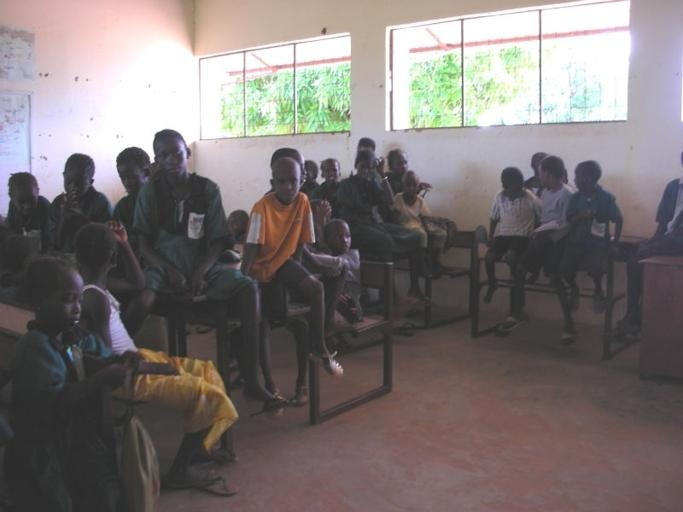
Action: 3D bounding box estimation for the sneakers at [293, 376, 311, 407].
[{"bbox_3d":[-0.253,0.842,3.401,0.077,0.182,0.179,-1,8,-32],"label":"sneakers"}]

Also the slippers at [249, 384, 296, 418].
[{"bbox_3d":[-0.414,0.848,3.170,0.126,0.167,0.408,0,-2,20],"label":"slippers"}]

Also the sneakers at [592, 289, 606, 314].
[{"bbox_3d":[2.140,0.366,4.540,0.098,0.256,0.090,-8,12,-42],"label":"sneakers"}]

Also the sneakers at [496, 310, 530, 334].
[{"bbox_3d":[1.554,0.602,4.926,0.230,0.101,0.082,-33,20,0],"label":"sneakers"}]

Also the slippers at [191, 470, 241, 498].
[{"bbox_3d":[-0.600,1.066,2.588,0.279,0.109,0.094,7,0,28],"label":"slippers"}]

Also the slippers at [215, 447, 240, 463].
[{"bbox_3d":[-0.597,1.020,2.794,0.155,0.065,0.048,-2,0,37],"label":"slippers"}]

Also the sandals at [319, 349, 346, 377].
[{"bbox_3d":[-0.080,0.658,3.311,0.088,0.113,0.262,-13,-8,-23],"label":"sandals"}]

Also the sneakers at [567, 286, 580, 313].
[{"bbox_3d":[1.959,0.342,4.578,0.096,0.259,0.083,-7,7,-19],"label":"sneakers"}]
